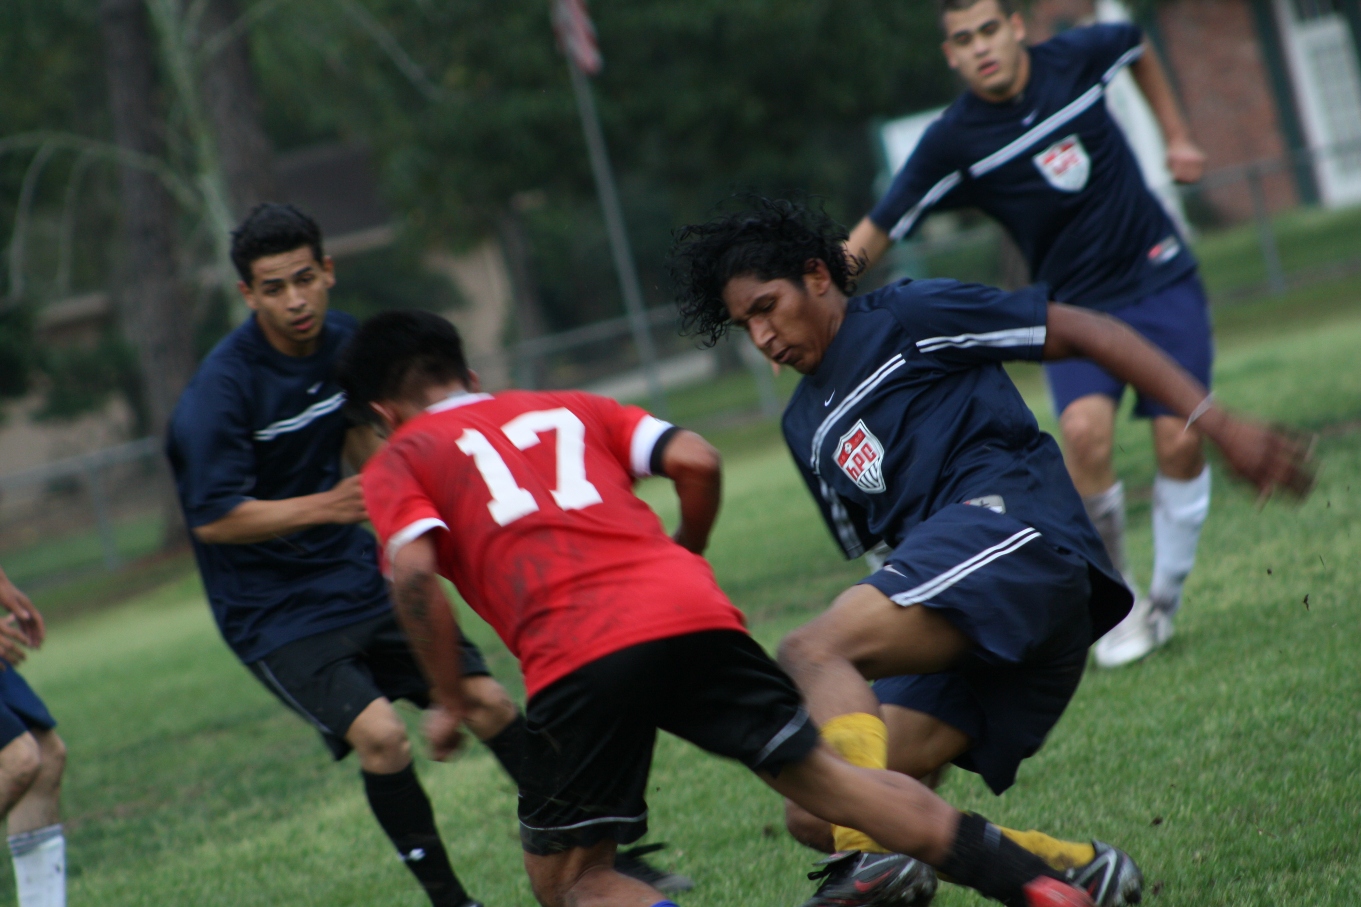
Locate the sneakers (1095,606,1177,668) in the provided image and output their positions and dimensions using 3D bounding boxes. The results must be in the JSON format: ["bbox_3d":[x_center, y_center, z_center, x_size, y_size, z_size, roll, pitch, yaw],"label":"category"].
[{"bbox_3d":[2.179,0.893,8.170,0.378,0.140,0.169,-38,-31,-15],"label":"sneakers"}]
